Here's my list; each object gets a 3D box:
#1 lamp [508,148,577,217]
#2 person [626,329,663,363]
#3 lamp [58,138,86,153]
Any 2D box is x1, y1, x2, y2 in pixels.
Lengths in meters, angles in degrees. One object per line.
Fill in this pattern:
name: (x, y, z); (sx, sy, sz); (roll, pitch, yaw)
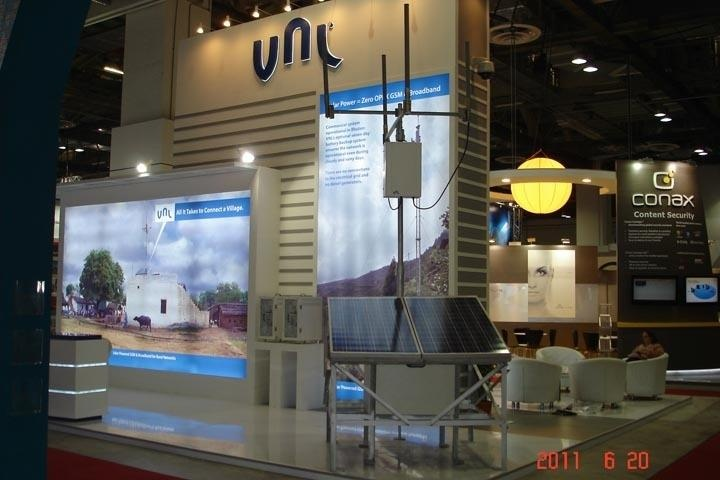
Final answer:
lamp: (4.112, -1.248, 13.107); (1.323, 1.521, 1.357); (0, -2, 3)
person: (4.921, 1.813, 10.222); (0.744, 0.609, 0.576); (3, -7, -13)
lamp: (-9.821, -3.225, 20.486); (0.805, 0.307, 1.132); (1, 0, -27)
